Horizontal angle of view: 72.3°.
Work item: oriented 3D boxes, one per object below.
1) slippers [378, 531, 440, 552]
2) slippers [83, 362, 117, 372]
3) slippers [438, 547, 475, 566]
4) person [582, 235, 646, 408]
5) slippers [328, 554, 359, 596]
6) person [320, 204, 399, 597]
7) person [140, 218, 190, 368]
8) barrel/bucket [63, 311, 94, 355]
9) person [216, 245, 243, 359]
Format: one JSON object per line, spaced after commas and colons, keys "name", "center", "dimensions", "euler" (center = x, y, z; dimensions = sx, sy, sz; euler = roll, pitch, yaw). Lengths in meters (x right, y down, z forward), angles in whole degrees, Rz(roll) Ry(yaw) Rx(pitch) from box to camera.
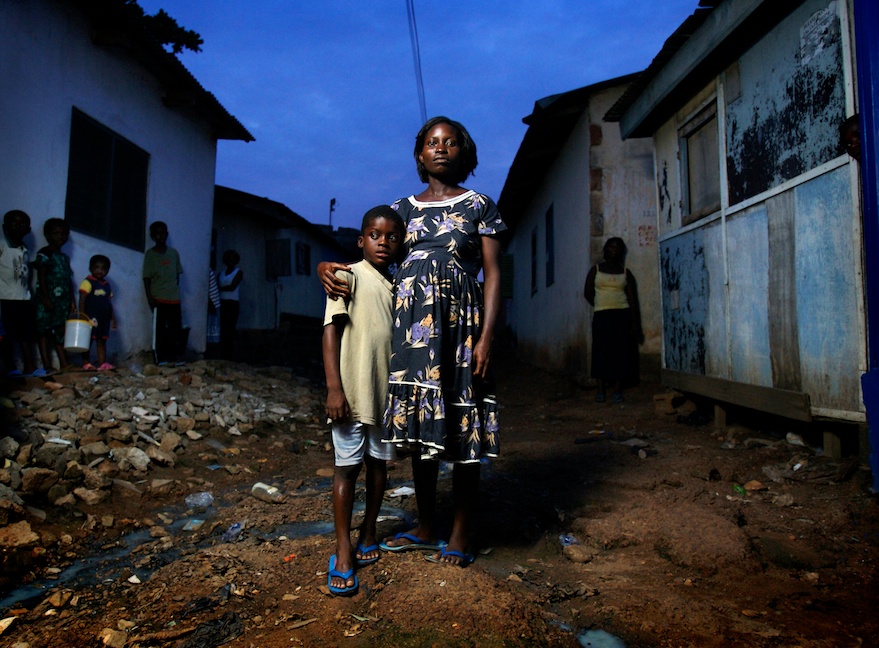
{"name": "slippers", "center": [-0.159, 1.224, 3.533], "dimensions": [0.308, 0.090, 0.129], "euler": [2, -13, -1]}
{"name": "slippers", "center": [-3.658, 0.413, 6.463], "dimensions": [0.298, 0.129, 0.111], "euler": [-5, -4, -2]}
{"name": "slippers", "center": [0.103, 1.248, 3.369], "dimensions": [0.161, 0.106, 0.049], "euler": [9, 5, -23]}
{"name": "person", "center": [2.163, -0.086, 7.409], "dimensions": [0.644, 1.957, 1.101], "euler": [2, 11, 19]}
{"name": "slippers", "center": [-0.522, 1.279, 3.217], "dimensions": [0.196, 0.154, 0.166], "euler": [2, 11, 17]}
{"name": "person", "center": [-0.459, 0.352, 3.345], "dimensions": [0.378, 1.975, 0.777], "euler": [3, 11, 23]}
{"name": "person", "center": [-3.553, -0.446, 7.677], "dimensions": [0.370, 1.710, 0.582], "euler": [-2, 11, -4]}
{"name": "barrel/bucket", "center": [-3.722, 0.080, 6.342], "dimensions": [0.401, 0.486, 0.291], "euler": [4, -8, -26]}
{"name": "person", "center": [-3.457, -0.360, 9.970], "dimensions": [0.436, 1.707, 1.488], "euler": [-5, 11, -20]}
